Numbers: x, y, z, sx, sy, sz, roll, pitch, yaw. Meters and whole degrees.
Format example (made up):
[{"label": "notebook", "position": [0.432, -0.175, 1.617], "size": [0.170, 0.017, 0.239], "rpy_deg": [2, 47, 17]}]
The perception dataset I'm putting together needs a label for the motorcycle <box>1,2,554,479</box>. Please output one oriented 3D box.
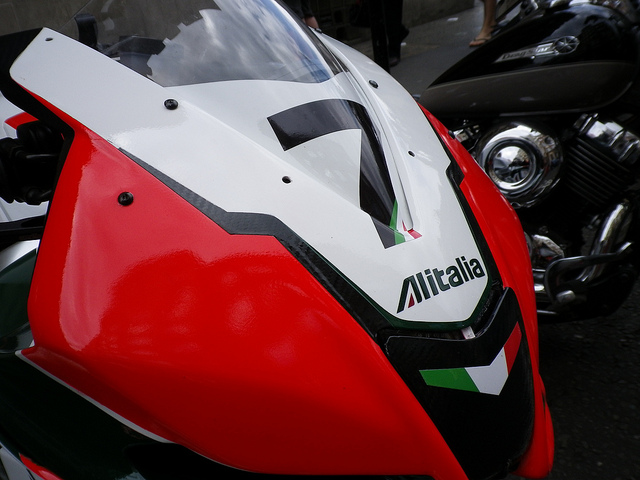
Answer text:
[{"label": "motorcycle", "position": [-0.394, -0.086, 1.772], "size": [1.089, 1.029, 1.782], "rpy_deg": [-21, 22, -30]}]
